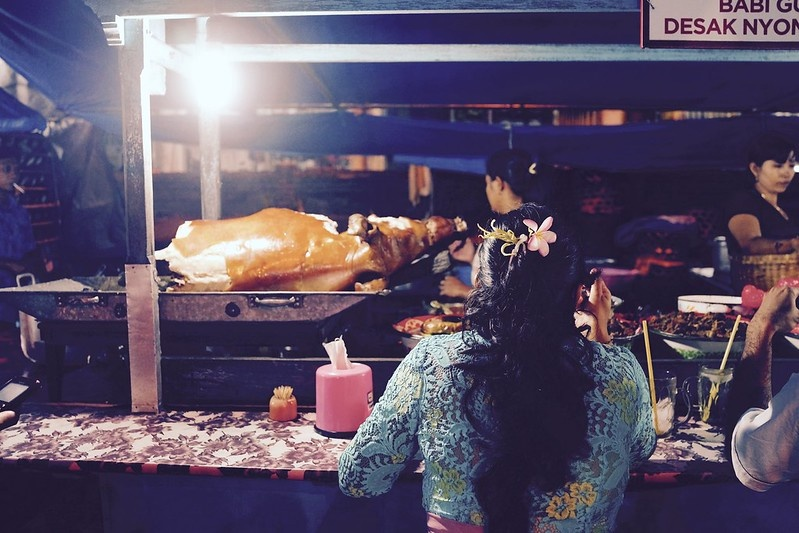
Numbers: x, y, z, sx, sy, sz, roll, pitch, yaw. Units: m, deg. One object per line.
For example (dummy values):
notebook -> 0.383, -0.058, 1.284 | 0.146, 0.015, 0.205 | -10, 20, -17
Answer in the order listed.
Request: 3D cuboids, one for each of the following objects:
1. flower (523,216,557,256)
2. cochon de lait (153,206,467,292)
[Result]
flower -> 0.649, -0.133, 3.968 | 0.145, 0.182, 0.063 | -1, 6, 6
cochon de lait -> -0.495, -0.105, 5.071 | 1.779, 0.440, 0.551 | 0, 8, -7
